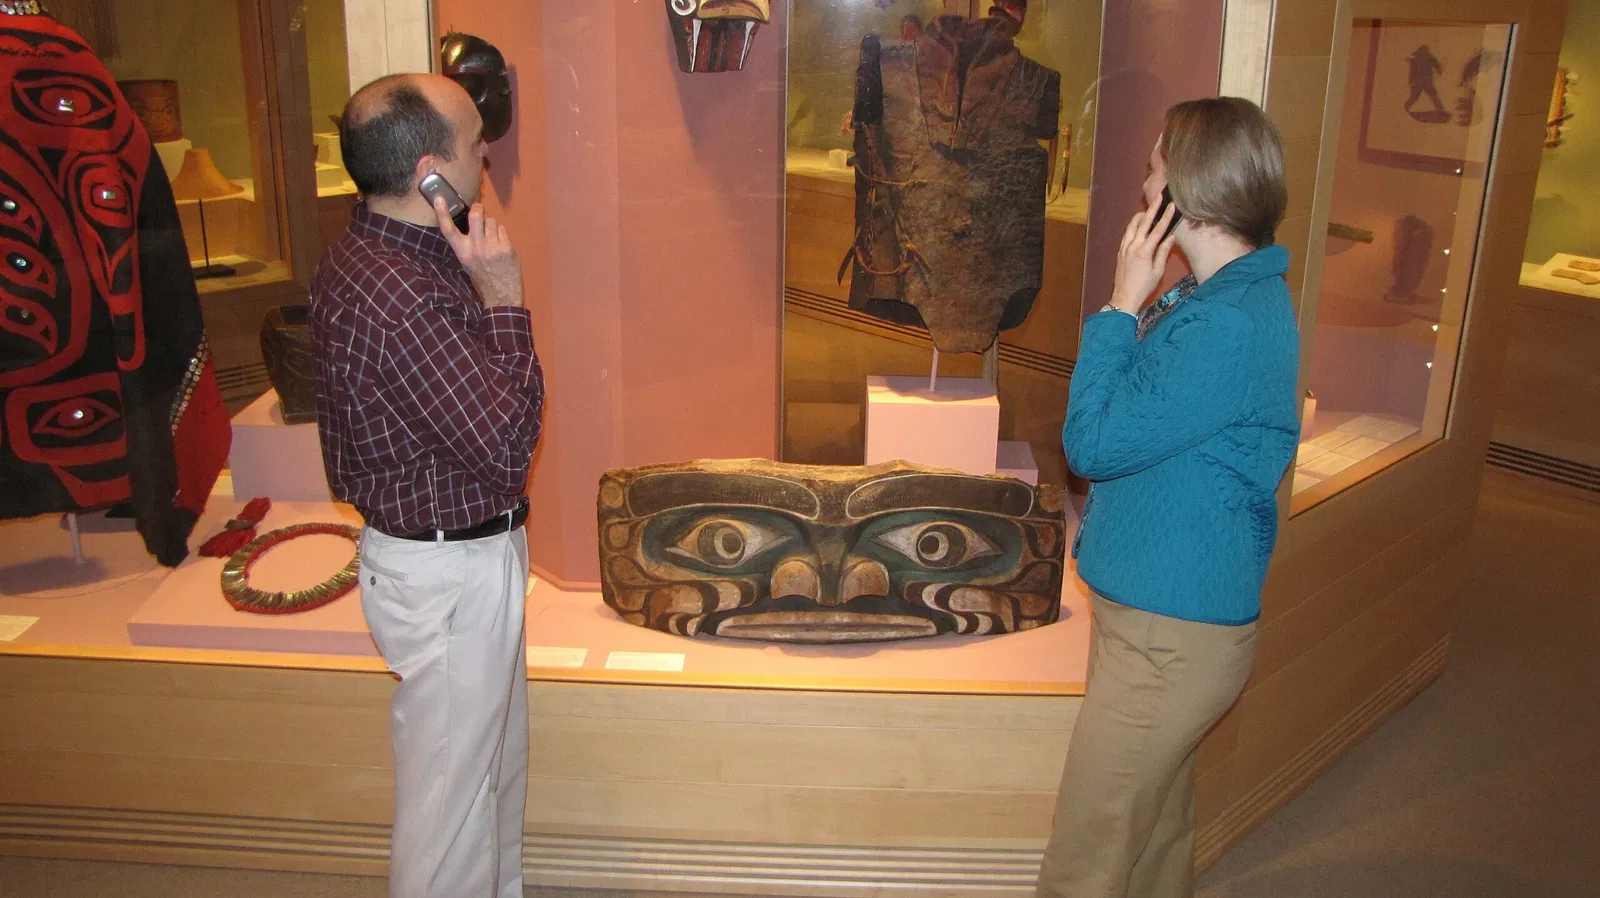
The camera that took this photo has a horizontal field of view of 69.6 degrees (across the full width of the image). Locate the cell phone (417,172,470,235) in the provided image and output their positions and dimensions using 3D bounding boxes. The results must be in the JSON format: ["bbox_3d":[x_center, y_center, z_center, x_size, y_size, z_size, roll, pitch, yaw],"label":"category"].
[{"bbox_3d":[-0.974,-0.672,3.131,0.091,0.206,0.022,-34,33,-2],"label":"cell phone"}]

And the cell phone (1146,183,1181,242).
[{"bbox_3d":[0.999,-0.660,3.215,0.061,0.134,0.103,8,1,14],"label":"cell phone"}]
